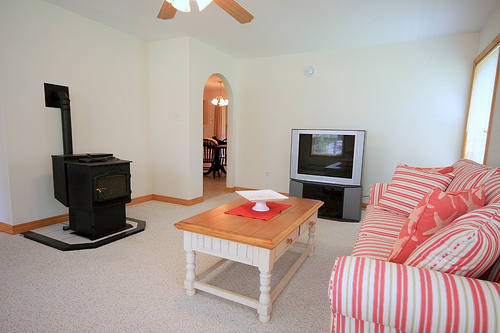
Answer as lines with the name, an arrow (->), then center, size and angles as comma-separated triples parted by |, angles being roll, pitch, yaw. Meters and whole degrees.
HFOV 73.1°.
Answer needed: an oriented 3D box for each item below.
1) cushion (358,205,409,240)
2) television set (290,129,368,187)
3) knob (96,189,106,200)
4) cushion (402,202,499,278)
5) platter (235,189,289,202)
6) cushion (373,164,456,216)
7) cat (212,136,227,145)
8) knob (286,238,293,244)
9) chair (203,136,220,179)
cushion -> 1.433, 0.516, 3.609 | 0.560, 0.408, 0.091 | 2, 12, -23
television set -> 1.193, -0.138, 5.127 | 0.848, 0.674, 0.313 | 3, 5, 24
knob -> -1.791, 0.328, 4.093 | 0.029, 0.154, 0.024 | -34, 30, 1
cushion -> 1.497, 0.559, 2.496 | 0.494, 0.362, 0.255 | -7, 20, -27
platter -> 0.131, 0.296, 3.593 | 0.468, 0.115, 0.325 | 0, 8, -1
cushion -> 1.779, 0.249, 3.745 | 0.176, 0.549, 0.569 | 28, 0, -27
cat -> -0.799, -0.656, 8.647 | 0.297, 0.181, 0.298 | 2, 5, 10
knob -> 0.385, 0.717, 3.269 | 0.049, 0.048, 0.013 | 6, -17, -17
chair -> -0.917, -0.226, 8.125 | 0.350, 0.932, 0.471 | -1, 9, -6
